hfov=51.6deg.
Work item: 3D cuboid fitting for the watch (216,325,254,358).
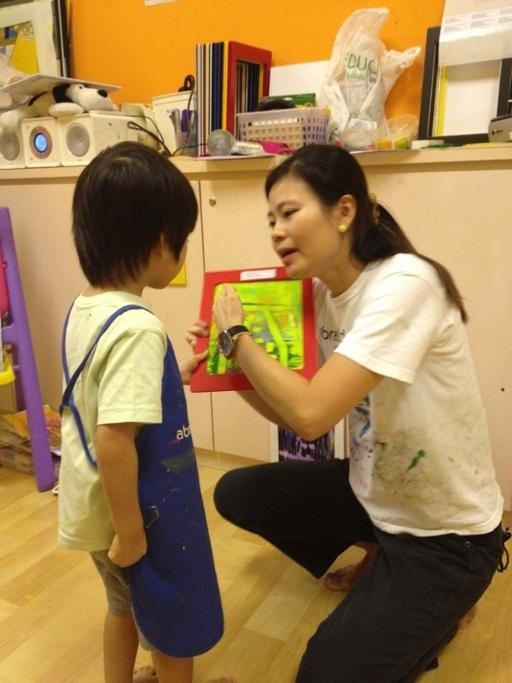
[{"bbox_3d":[-0.047,-0.003,0.941,0.066,0.070,0.043,-3,16,-27],"label":"watch"}]

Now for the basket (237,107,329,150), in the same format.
[{"bbox_3d":[0.070,-0.559,1.465,0.205,0.093,0.137,6,20,24],"label":"basket"}]
